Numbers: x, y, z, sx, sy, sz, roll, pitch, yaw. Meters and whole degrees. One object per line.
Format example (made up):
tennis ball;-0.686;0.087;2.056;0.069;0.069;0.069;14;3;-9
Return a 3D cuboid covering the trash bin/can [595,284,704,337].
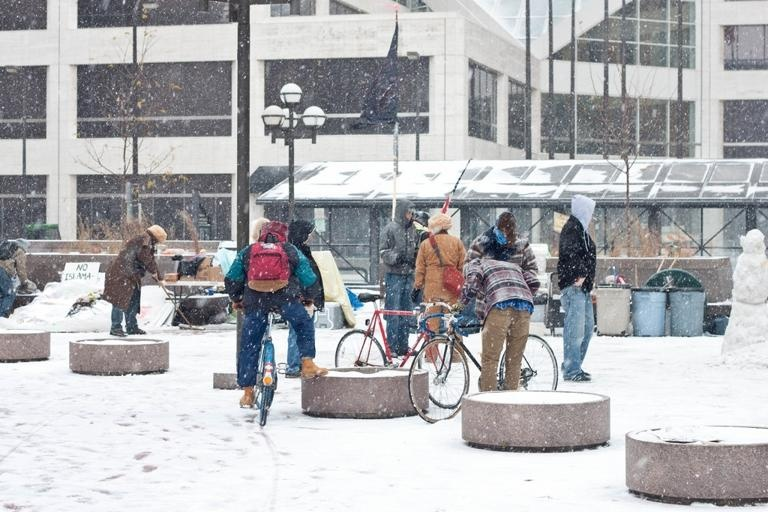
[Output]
trash bin/can;8.834;1.810;60.146;4.366;2.034;2.174;-1;-2;13

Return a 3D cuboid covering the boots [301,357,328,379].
boots;-1.839;3.033;50.163;0.853;0.719;0.361;-5;-5;14

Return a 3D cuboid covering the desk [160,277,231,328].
desk;-6.361;1.591;61.966;3.069;2.104;1.473;1;-1;-16

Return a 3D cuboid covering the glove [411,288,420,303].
glove;0.897;1.130;52.769;0.199;0.382;0.405;2;-18;2

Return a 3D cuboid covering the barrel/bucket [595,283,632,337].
barrel/bucket;7.294;1.658;58.809;1.210;1.596;1.094;-1;-1;4

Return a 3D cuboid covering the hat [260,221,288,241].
hat;-3.003;-0.692;50.259;0.579;0.420;0.573;-1;-2;20

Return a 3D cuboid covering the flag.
flag;-0.092;-7.597;74.856;3.245;5.713;0.437;-16;40;-40
